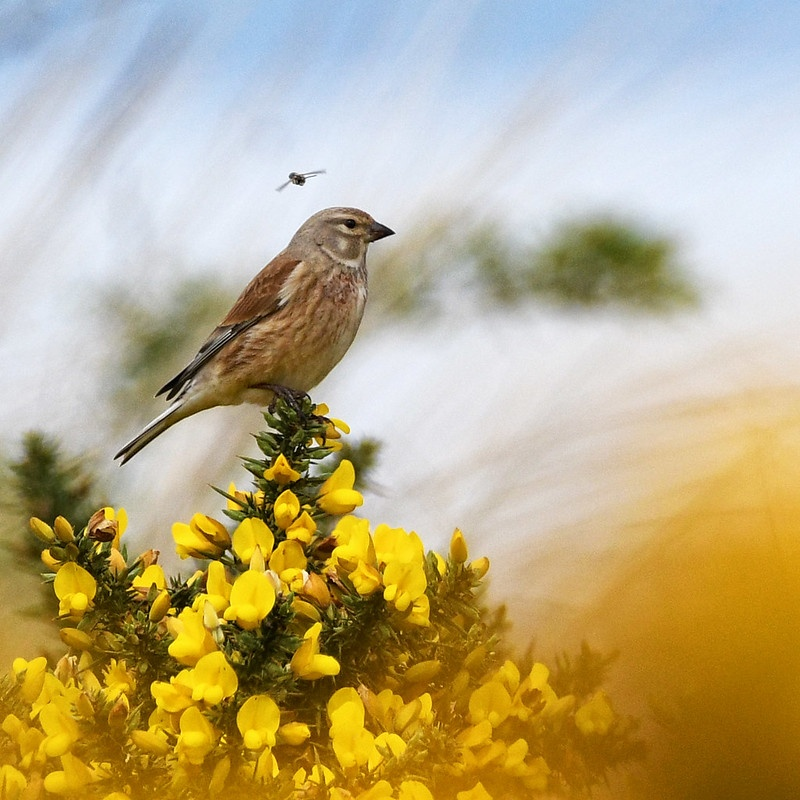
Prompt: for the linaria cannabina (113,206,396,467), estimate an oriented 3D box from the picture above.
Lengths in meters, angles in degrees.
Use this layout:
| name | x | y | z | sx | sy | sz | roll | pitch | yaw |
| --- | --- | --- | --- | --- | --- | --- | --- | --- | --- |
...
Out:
| name | x | y | z | sx | sy | sz | roll | pitch | yaw |
| --- | --- | --- | --- | --- | --- | --- | --- | --- | --- |
| linaria cannabina | -0.305 | -0.231 | 3.592 | 0.801 | 0.451 | 0.568 | 43 | 3 | -5 |
